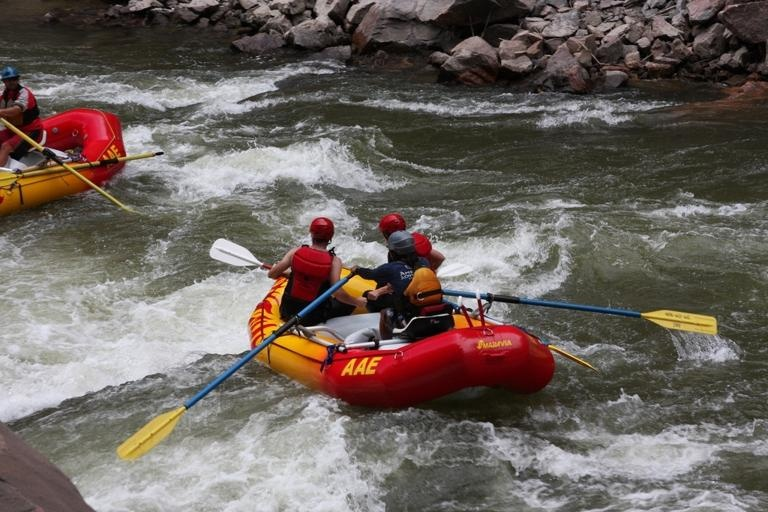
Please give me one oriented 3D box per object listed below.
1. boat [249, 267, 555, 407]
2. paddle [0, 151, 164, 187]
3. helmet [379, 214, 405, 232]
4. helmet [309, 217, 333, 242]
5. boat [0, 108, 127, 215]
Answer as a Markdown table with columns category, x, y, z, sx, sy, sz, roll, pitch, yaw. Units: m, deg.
| category | x | y | z | sx | sy | sz | roll | pitch | yaw |
| --- | --- | --- | --- | --- | --- | --- | --- | --- | --- |
| boat | -0.013 | 0.990 | 9.354 | 2.222 | 0.641 | 3.921 | -22 | 21 | -37 |
| paddle | -5.243 | -1.572 | 12.467 | 2.724 | 0.179 | 0.787 | -7 | -5 | -22 |
| helmet | 0.132 | -0.419 | 8.859 | 0.336 | 0.200 | 0.302 | -10 | 31 | -11 |
| helmet | -0.680 | -0.344 | 8.873 | 0.381 | 0.265 | 0.343 | 4 | 25 | -16 |
| boat | -5.438 | -1.579 | 12.195 | 2.098 | 1.634 | 0.673 | 16 | 38 | 28 |
